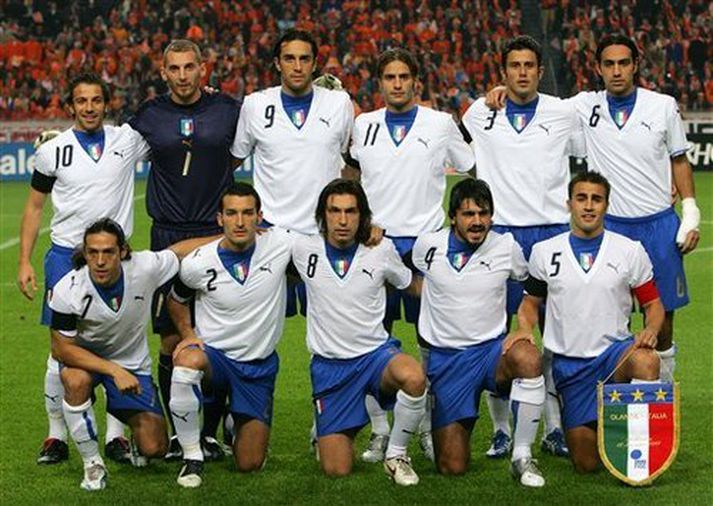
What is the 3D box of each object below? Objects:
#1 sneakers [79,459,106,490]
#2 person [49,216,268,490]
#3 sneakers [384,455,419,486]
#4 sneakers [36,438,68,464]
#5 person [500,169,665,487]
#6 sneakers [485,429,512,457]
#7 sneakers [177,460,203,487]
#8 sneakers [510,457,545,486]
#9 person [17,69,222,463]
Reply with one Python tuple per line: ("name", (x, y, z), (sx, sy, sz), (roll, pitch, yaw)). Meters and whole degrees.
("sneakers", (-1.825, 1.521, 6.518), (0.178, 0.166, 0.232), (-4, 14, -14))
("person", (-1.417, 0.747, 6.759), (1.504, 2.116, 1.015), (-4, 4, -27))
("sneakers", (0.314, 1.508, 6.557), (0.109, 0.135, 0.305), (-3, 2, -27))
("sneakers", (-2.217, 1.445, 6.876), (0.096, 0.142, 0.288), (0, -12, 5))
("person", (1.618, 0.513, 6.708), (1.071, 2.218, 1.029), (4, 11, 44))
("sneakers", (1.060, 1.415, 7.009), (0.093, 0.138, 0.281), (-6, -4, 18))
("sneakers", (-1.159, 1.516, 6.548), (0.178, 0.143, 0.214), (-4, 14, -11))
("sneakers", (1.176, 1.491, 6.489), (0.192, 0.143, 0.235), (-3, 14, -5))
("person", (-1.732, 0.800, 6.769), (1.009, 2.277, 0.550), (9, 40, -18))
